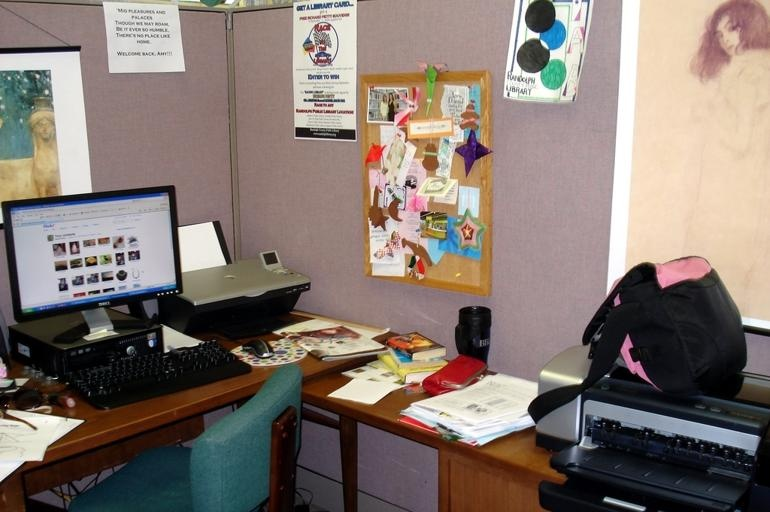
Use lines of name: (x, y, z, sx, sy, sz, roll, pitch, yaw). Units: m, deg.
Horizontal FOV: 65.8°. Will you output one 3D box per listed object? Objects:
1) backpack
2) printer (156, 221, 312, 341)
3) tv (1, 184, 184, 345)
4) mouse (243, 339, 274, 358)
backpack: (0.706, 0.203, 1.767, 0.584, 0.357, 0.417, -19, -1, 35)
printer: (-0.692, 0.121, 2.599, 0.542, 0.355, 0.523, -12, 26, -42)
tv: (-1.092, 0.032, 2.185, 0.582, 0.470, 0.135, -10, 14, -36)
mouse: (-0.482, 0.337, 2.244, 0.093, 0.029, 0.061, 12, 14, 39)
